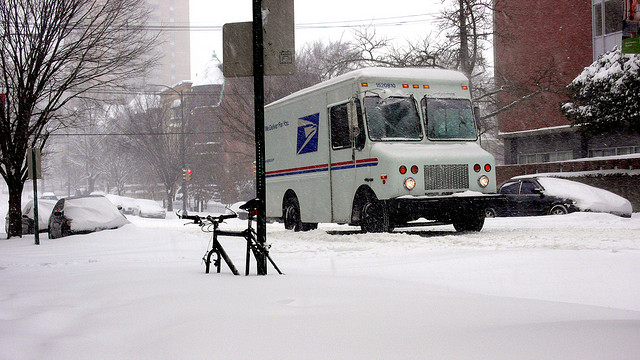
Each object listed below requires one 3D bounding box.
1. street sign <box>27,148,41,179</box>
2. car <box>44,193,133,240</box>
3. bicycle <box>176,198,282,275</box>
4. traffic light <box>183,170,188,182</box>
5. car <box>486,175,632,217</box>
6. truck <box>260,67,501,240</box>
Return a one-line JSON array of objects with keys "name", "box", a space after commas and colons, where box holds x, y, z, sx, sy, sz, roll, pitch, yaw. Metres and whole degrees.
[{"name": "street sign", "box": [-9.645, -0.575, 20.260, 0.346, 1.088, 0.853, -5, 10, -31]}, {"name": "car", "box": [-8.322, 1.207, 20.716, 1.562, 0.936, 2.265, -1, -7, -38]}, {"name": "bicycle", "box": [-1.605, 1.276, 11.581, 1.322, 1.435, 2.528, -13, -10, 28]}, {"name": "traffic light", "box": [-10.102, -0.393, 44.926, 0.271, 0.701, 0.536, -4, 10, -27]}, {"name": "car", "box": [8.805, 0.781, 22.538, 1.753, 1.734, 4.573, -7, 11, -41]}, {"name": "truck", "box": [1.603, -0.666, 18.014, 7.053, 5.288, 2.853, 7, 11, 41]}]
